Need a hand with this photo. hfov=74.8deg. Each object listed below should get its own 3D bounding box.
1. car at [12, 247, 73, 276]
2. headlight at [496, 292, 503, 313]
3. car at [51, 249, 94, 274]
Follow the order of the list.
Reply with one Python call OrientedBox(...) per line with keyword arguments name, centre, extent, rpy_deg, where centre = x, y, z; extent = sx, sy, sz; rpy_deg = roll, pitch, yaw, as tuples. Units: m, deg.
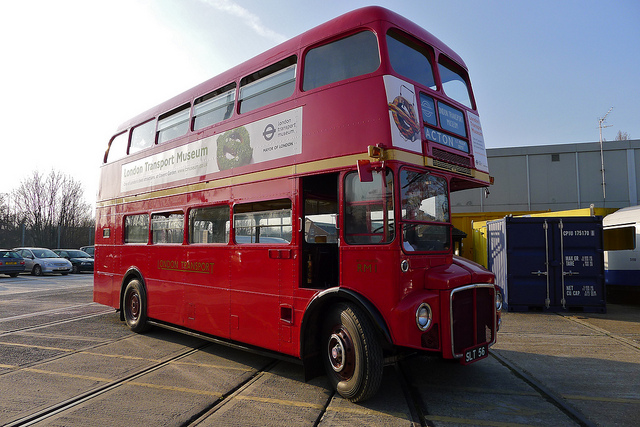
OrientedBox(name="car", centre=(-17.263, 2.999, 25.857), extent=(3.459, 1.238, 1.655), rpy_deg=(-5, -7, 37))
OrientedBox(name="headlight", centre=(3.408, 1.680, 7.967), extent=(0.096, 0.316, 0.300), rpy_deg=(-3, 7, 30))
OrientedBox(name="car", centre=(-16.571, 3.169, 28.255), extent=(3.731, 1.368, 1.730), rpy_deg=(-3, -4, 38))
